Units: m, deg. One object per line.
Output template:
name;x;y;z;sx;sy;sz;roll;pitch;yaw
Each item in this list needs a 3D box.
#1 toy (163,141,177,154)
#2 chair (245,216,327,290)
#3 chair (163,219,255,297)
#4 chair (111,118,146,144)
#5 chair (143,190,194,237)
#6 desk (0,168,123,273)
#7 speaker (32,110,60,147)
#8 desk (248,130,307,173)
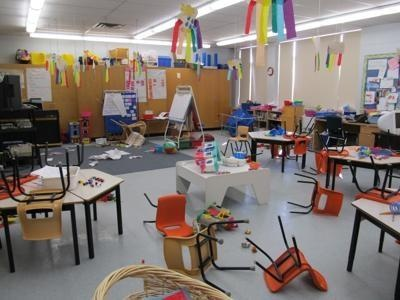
toy;-0.799;-0.060;8.155;0.302;0.365;0.338;0;35;-3
chair;0.978;1.191;3.496;0.547;0.621;0.377;-23;21;-2
chair;0.010;0.957;3.336;0.935;0.769;0.651;4;5;36
chair;-2.065;-0.626;9.244;0.919;0.668;0.642;-9;12;-25
chair;-0.370;0.828;3.863;0.380;0.401;0.585;-5;16;-27
desk;-1.600;0.557;3.745;0.999;0.742;1.375;4;12;16
speaker;-4.203;-0.607;8.470;0.582;1.005;0.328;-10;15;-35
desk;1.685;-0.009;6.888;1.154;0.683;1.431;1;13;6
